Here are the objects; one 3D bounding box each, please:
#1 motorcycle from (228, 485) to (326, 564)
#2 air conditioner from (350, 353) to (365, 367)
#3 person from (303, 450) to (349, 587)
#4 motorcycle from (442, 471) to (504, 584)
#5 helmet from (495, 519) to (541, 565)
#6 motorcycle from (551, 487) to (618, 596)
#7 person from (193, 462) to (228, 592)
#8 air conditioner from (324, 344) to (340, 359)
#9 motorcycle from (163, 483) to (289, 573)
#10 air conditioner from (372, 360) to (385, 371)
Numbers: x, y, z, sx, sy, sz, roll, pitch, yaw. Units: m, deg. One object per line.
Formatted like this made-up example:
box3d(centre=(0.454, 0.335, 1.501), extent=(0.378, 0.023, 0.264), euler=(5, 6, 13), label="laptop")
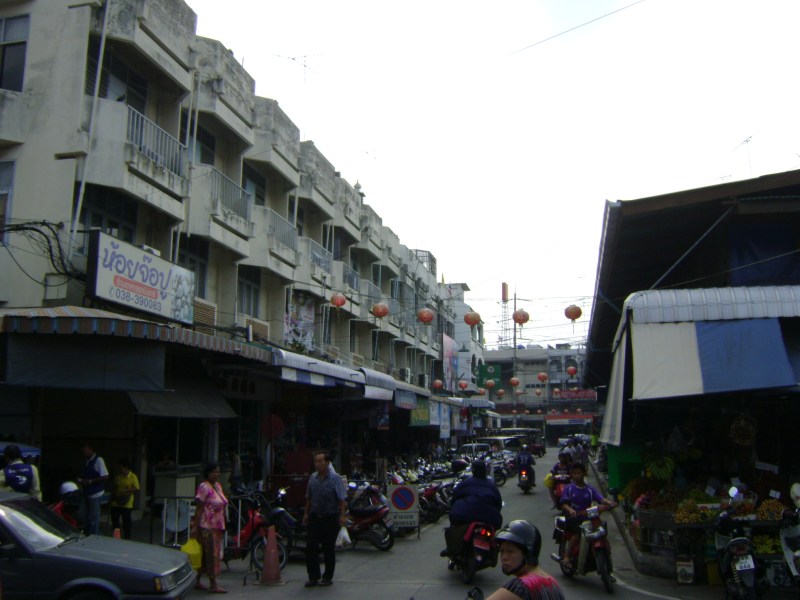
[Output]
box3d(centre=(-2.511, 4.352, 14.576), extent=(1.353, 1.559, 1.331), euler=(3, 3, -5), label="motorcycle")
box3d(centre=(-1.932, 2.757, 35.985), extent=(0.603, 0.704, 1.173), euler=(-7, -11, 28), label="air conditioner")
box3d(centre=(-1.240, 3.630, 12.886), extent=(0.657, 2.147, 0.542), euler=(3, -13, -8), label="person")
box3d(centre=(1.287, 3.761, 13.286), extent=(1.042, 2.271, 1.065), euler=(0, -3, 13), label="motorcycle")
box3d(centre=(1.114, 2.287, 7.388), extent=(0.408, 0.392, 0.326), euler=(6, -17, -13), label="helmet")
box3d(centre=(3.207, 4.229, 13.311), extent=(0.714, 1.248, 1.898), euler=(0, -18, -3), label="motorcycle")
box3d(centre=(-3.090, 3.673, 12.726), extent=(0.543, 2.021, 0.641), euler=(-2, -9, 12), label="person")
box3d(centre=(-2.878, 2.160, 32.863), extent=(0.590, 0.343, 0.496), euler=(-10, -7, 15), label="air conditioner")
box3d(centre=(-2.978, 4.261, 14.614), extent=(2.436, 1.786, 1.300), euler=(-2, -6, 14), label="motorcycle")
box3d(centre=(-1.032, 3.250, 39.608), extent=(0.539, 0.523, 0.841), euler=(-22, -16, 29), label="air conditioner")
